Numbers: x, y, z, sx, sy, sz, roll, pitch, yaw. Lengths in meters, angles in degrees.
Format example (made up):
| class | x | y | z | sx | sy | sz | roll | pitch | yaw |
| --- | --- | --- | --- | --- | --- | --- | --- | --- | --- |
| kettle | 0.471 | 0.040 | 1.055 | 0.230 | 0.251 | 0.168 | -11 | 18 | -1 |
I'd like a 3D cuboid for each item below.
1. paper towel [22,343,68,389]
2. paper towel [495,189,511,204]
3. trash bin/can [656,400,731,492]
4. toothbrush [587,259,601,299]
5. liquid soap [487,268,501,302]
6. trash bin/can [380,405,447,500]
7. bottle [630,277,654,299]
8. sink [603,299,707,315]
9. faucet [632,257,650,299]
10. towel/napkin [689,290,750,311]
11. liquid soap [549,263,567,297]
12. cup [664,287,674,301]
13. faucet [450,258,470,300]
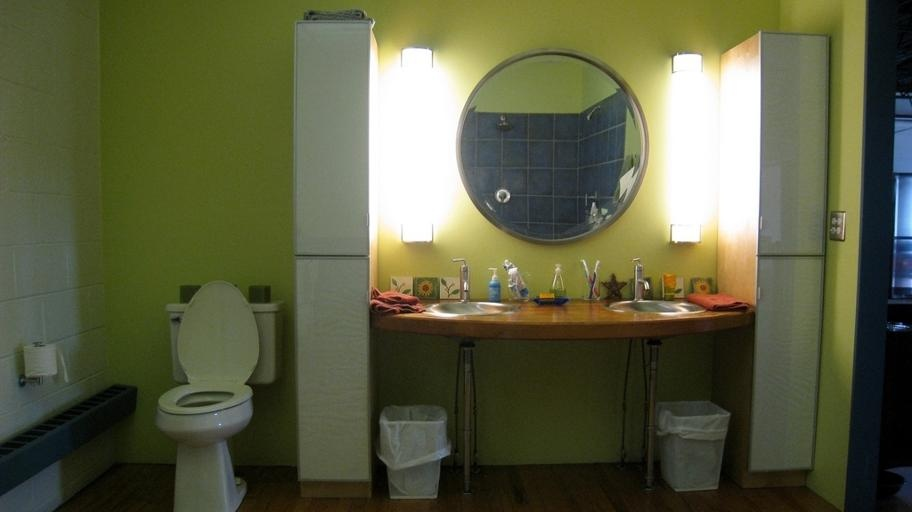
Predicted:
| class | x | y | z | sx | sy | sz | roll | pitch | yaw |
| --- | --- | --- | --- | --- | --- | --- | --- | --- | --- |
| paper towel | -2.994 | 0.793 | 5.130 | 0.256 | 0.262 | 0.250 | -1 | -1 | -7 |
| paper towel | 0.377 | -0.466 | 5.582 | 0.126 | 0.110 | 0.042 | 7 | 4 | -1 |
| trash bin/can | 1.736 | 1.462 | 5.573 | 0.716 | 0.709 | 0.623 | 1 | -5 | -5 |
| toothbrush | 1.100 | 0.190 | 5.579 | 0.071 | 0.303 | 0.136 | 1 | 6 | 18 |
| liquid soap | 0.299 | 0.227 | 5.502 | 0.107 | 0.245 | 0.181 | -1 | 5 | 3 |
| trash bin/can | -0.303 | 1.488 | 5.409 | 0.685 | 0.590 | 0.616 | 0 | -7 | -1 |
| bottle | 1.473 | 0.274 | 5.559 | 0.239 | 0.206 | 0.164 | 0 | -6 | 1 |
| sink | 1.510 | 0.393 | 5.375 | 0.716 | 0.079 | 0.298 | -1 | 4 | -6 |
| faucet | 1.456 | 0.181 | 5.549 | 0.127 | 0.318 | 0.202 | 0 | 5 | 12 |
| towel/napkin | 2.009 | 0.352 | 5.427 | 0.347 | 0.099 | 0.365 | -2 | 5 | -17 |
| liquid soap | 0.803 | 0.191 | 5.512 | 0.112 | 0.238 | 0.203 | 0 | 5 | 8 |
| cup | 1.693 | 0.309 | 5.652 | 0.123 | 0.107 | 0.085 | 0 | -2 | 0 |
| faucet | 0.046 | 0.186 | 5.486 | 0.132 | 0.325 | 0.165 | -1 | 5 | 1 |
